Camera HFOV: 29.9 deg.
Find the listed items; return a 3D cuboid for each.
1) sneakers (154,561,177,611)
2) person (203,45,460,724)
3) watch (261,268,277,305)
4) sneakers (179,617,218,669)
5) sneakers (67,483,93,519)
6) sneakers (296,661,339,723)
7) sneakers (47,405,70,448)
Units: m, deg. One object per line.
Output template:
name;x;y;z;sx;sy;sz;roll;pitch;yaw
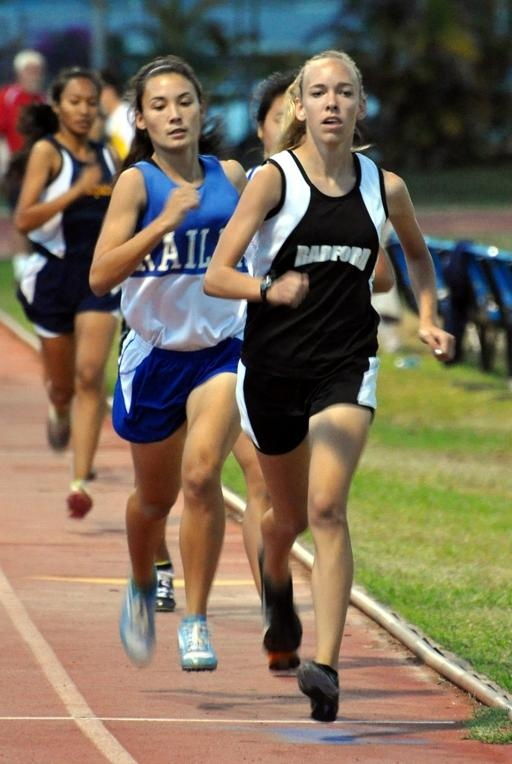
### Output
sneakers;-0.345;0.782;3.654;0.097;0.111;0.267;-1;-10;-2
person;0.181;-0.013;2.515;0.534;1.755;0.737;2;2;36
watch;0.025;-0.220;2.234;0.025;0.057;0.054;7;2;4
sneakers;-0.156;0.695;2.604;0.069;0.082;0.187;0;20;-6
sneakers;-0.863;0.571;4.626;0.170;0.197;0.053;-3;5;-24
sneakers;0.153;0.740;2.296;0.079;0.213;0.091;-9;50;16
sneakers;-1.364;0.327;6.587;0.132;0.341;0.153;-8;19;-19
